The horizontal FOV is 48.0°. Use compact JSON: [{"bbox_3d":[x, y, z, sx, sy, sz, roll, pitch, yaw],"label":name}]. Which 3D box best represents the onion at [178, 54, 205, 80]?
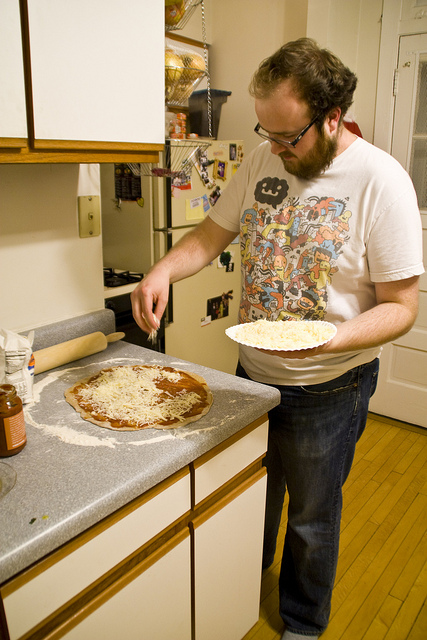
[{"bbox_3d":[-0.062,-0.749,1.415,0.065,0.043,0.077,-2,14,-28],"label":"onion"}]

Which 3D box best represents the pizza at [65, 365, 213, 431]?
[{"bbox_3d":[-0.175,0.178,1.154,0.352,0.032,0.396,4,15,3],"label":"pizza"}]

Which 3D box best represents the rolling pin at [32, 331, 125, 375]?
[{"bbox_3d":[-0.349,0.078,1.368,0.344,0.059,0.056,-16,-2,-41],"label":"rolling pin"}]
